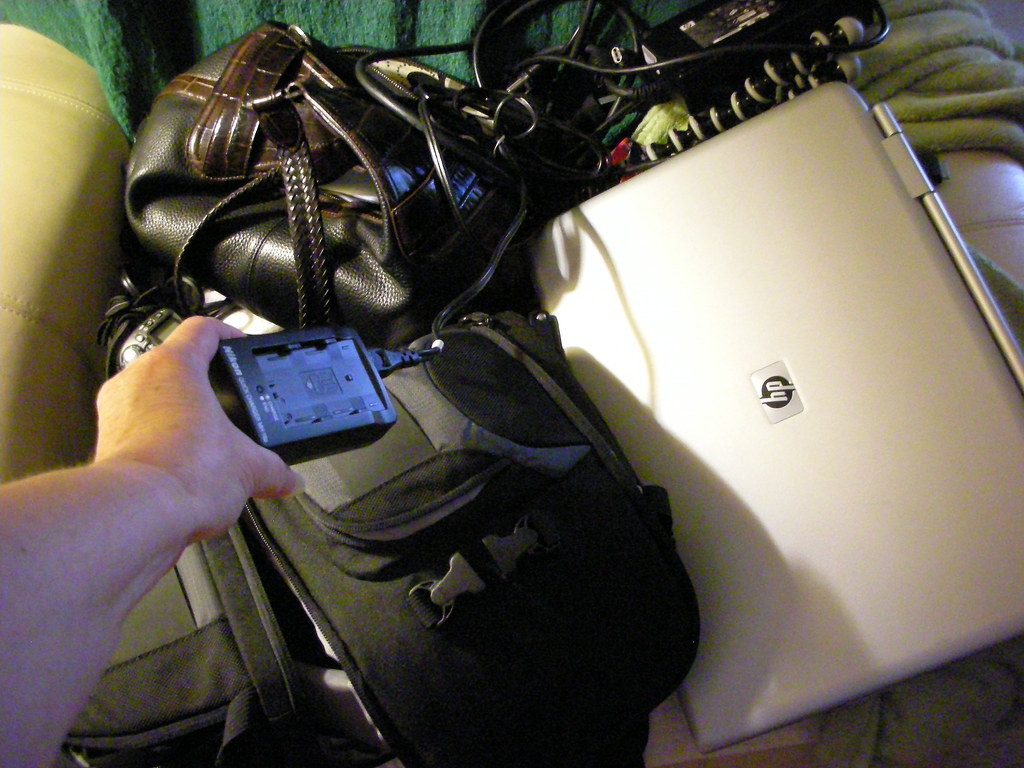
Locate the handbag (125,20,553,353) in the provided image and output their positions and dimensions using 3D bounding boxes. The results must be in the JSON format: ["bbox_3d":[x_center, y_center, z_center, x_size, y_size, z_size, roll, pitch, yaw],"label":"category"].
[{"bbox_3d":[-0.229,-0.296,1.128,0.578,0.358,0.543,-6,44,-15],"label":"handbag"}]

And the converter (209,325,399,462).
[{"bbox_3d":[-0.201,0.008,0.747,0.155,0.050,0.115,-15,71,-42],"label":"converter"}]
